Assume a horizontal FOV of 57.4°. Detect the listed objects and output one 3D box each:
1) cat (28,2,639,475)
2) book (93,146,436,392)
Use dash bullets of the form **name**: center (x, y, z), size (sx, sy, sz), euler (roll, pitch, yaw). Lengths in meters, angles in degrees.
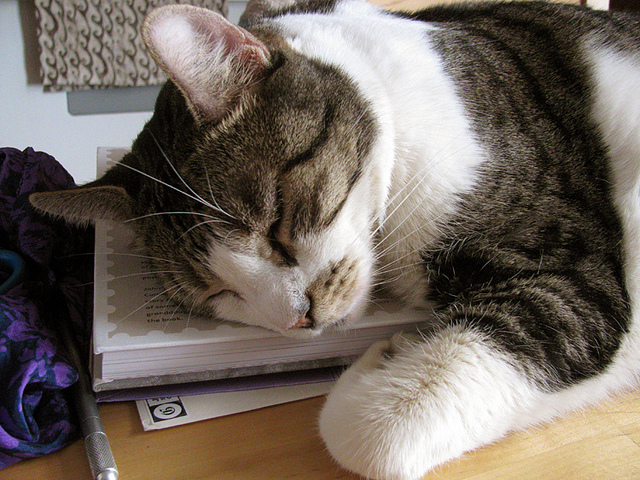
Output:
- **cat**: center (0.204, -0.119, 0.903), size (0.922, 0.354, 0.582), euler (-32, 22, -33)
- **book**: center (-0.122, 0.043, 0.751), size (0.298, 0.039, 0.276), euler (-3, 37, -8)
